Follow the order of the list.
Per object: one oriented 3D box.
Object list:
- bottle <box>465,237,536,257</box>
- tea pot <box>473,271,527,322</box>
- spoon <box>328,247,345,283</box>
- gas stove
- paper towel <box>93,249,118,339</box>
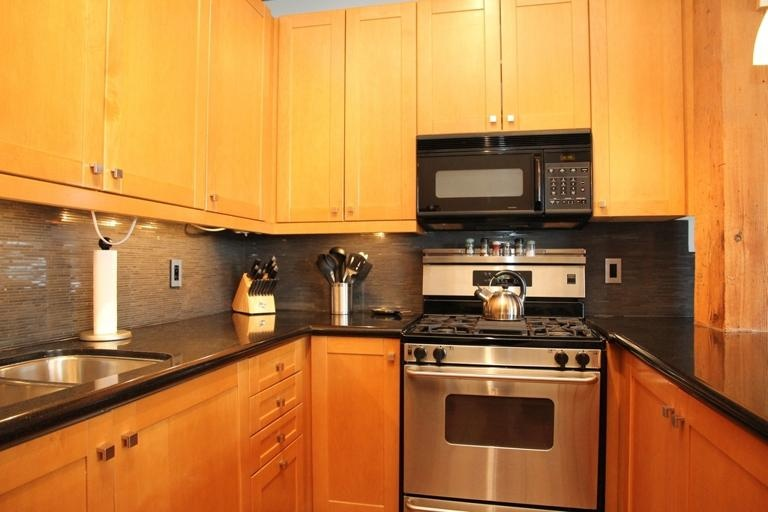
[{"bbox_3d":[0.662,-0.047,3.318,0.403,0.078,0.103,-1,1,9],"label":"bottle"},{"bbox_3d":[0.627,0.209,3.180,0.300,0.244,0.315,6,2,0],"label":"tea pot"},{"bbox_3d":[-0.260,0.052,3.250,0.114,0.186,0.050,-1,20,13],"label":"spoon"},{"bbox_3d":[0.602,0.436,3.003,0.967,0.180,0.540,1,6,9],"label":"gas stove"},{"bbox_3d":[-1.211,0.163,2.513,0.095,0.381,0.045,-2,1,-27],"label":"paper towel"}]
